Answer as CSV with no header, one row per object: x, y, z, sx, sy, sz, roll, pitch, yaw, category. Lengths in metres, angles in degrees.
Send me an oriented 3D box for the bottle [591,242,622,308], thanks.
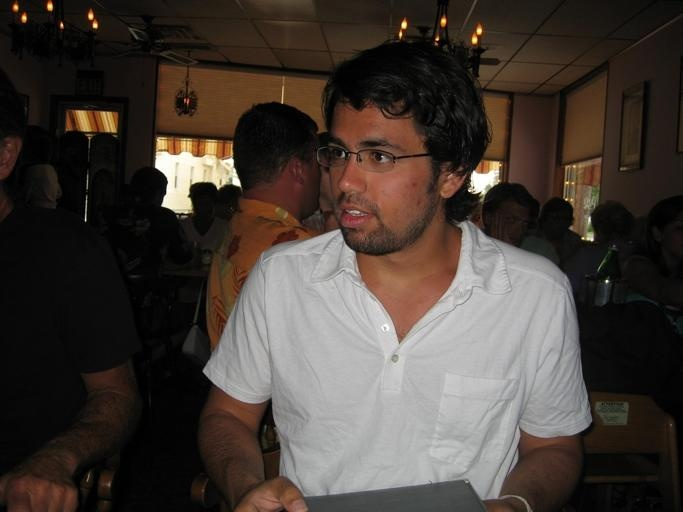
1.553,0.114,3.090,0.160,0.349,0.160,5,11,-1,bottle
